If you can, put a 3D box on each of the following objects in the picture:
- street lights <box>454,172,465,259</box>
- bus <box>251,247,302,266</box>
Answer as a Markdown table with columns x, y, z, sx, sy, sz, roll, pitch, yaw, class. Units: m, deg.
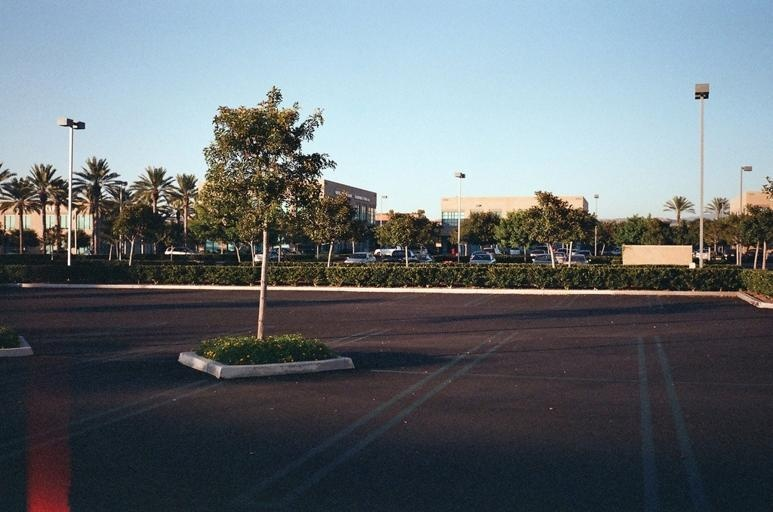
| x | y | z | sx | sy | sz | roll | pitch | yaw | class |
| --- | --- | --- | --- | --- | --- | --- | --- | --- | --- |
| 6.123 | -3.684 | 54.984 | 0.838 | 6.789 | 0.799 | 7 | -10 | -24 | street lights |
| -9.660 | 0.004 | 56.294 | 3.607 | 1.344 | 1.842 | -4 | 2 | 6 | bus |
